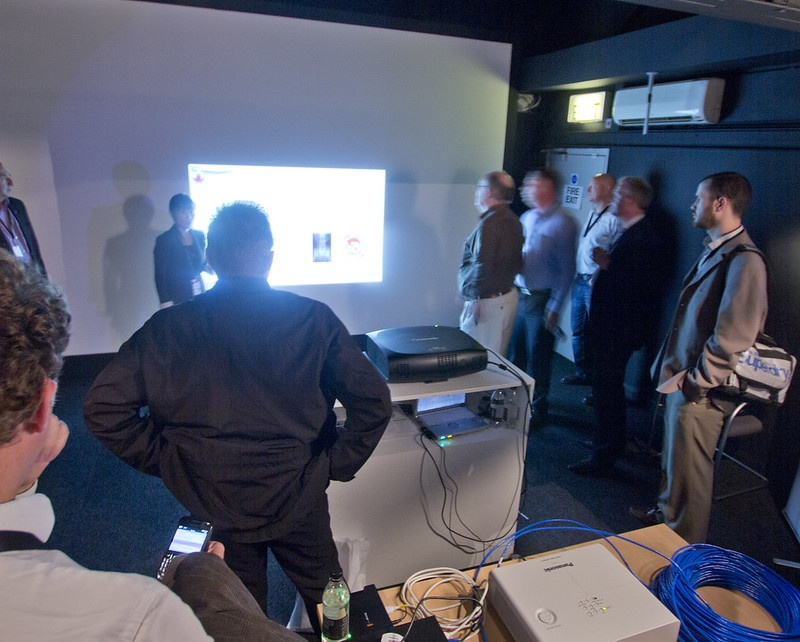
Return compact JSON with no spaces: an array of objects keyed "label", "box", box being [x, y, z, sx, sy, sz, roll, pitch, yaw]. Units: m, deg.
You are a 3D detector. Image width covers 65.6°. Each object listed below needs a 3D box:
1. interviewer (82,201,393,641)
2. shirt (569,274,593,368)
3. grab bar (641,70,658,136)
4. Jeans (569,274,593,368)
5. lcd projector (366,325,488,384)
[{"label":"interviewer","box":[-0.584,0.607,2.286,0.962,1.949,0.608,-6,20,-22]},{"label":"shirt","box":[1.383,0.025,4.873,0.156,0.734,0.202,6,4,38]},{"label":"grab bar","box":[1.689,-1.505,4.240,0.099,0.415,0.100,-5,18,-11]},{"label":"Jeans","box":[1.378,0.025,4.886,0.166,0.749,0.207,4,4,28]},{"label":"lcd projector","box":[0.119,0.084,2.920,0.552,0.236,0.478,2,15,-20]}]
